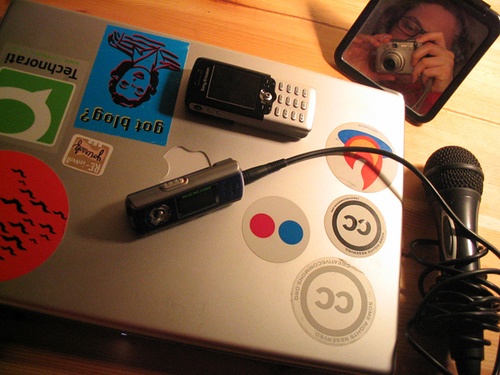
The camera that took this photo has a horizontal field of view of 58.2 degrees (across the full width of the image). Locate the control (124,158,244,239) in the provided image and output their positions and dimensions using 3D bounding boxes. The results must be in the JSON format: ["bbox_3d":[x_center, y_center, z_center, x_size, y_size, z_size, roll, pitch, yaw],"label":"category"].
[{"bbox_3d":[-0.106,0.009,0.749,0.195,0.106,0.049,-23,56,-12],"label":"control"}]

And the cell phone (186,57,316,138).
[{"bbox_3d":[-0.002,-0.155,0.858,0.230,0.065,0.127,16,77,-5],"label":"cell phone"}]
